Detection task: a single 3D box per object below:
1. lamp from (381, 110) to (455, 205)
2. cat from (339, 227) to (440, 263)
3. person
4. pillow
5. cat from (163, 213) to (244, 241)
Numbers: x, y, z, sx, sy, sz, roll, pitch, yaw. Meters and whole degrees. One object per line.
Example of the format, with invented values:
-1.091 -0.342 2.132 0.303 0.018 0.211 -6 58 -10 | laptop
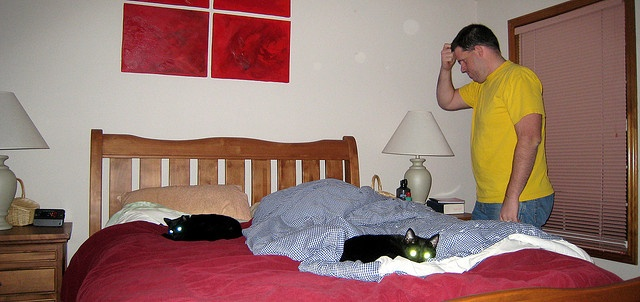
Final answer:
1.398 0.014 5.487 1.204 1.265 1.088 -2 5 -7 | lamp
0.569 0.827 3.539 0.703 0.279 0.222 -8 4 35 | cat
1.724 -0.274 4.202 0.620 1.991 0.973 -3 3 -26 | person
-1.390 0.500 4.496 1.017 0.235 0.552 1 3 -13 | pillow
-1.103 0.724 3.968 0.570 0.144 0.296 3 -3 -10 | cat
